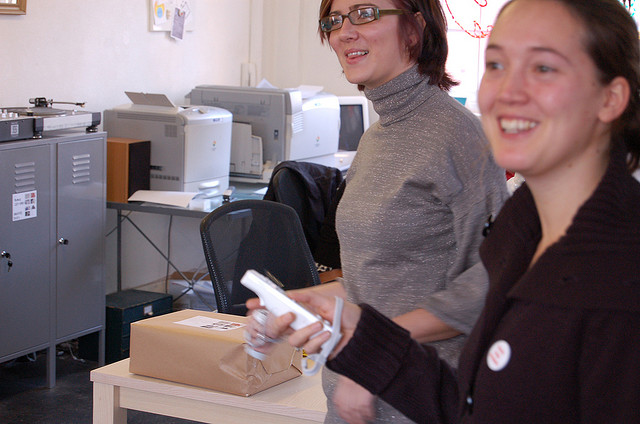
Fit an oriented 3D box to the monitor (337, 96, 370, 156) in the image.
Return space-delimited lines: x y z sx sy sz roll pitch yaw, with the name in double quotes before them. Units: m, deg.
"monitor" 0.295 -0.776 4.516 0.258 0.511 0.449 2 12 5
